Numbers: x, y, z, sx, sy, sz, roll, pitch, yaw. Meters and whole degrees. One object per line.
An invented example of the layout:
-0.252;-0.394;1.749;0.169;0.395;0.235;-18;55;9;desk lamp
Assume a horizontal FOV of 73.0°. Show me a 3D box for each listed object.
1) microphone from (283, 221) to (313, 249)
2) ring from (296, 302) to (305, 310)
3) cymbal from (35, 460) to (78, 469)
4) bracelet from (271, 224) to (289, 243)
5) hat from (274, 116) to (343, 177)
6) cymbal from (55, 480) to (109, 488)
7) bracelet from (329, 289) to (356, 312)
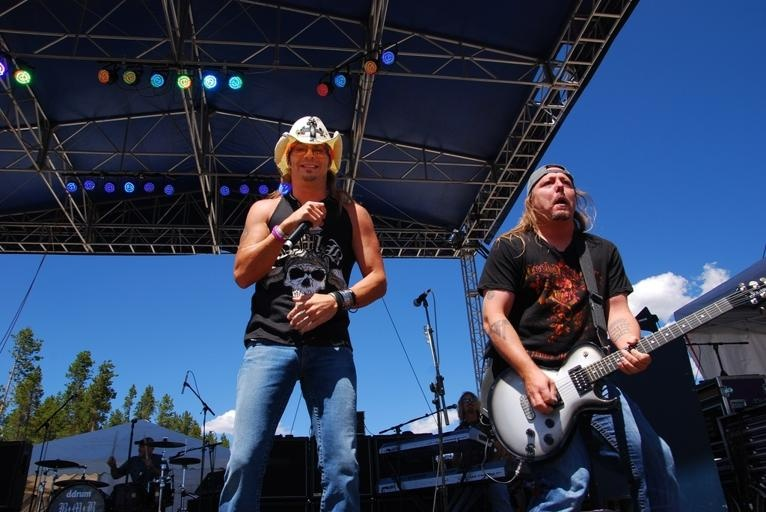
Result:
-0.615;-0.178;3.940;0.093;0.356;0.094;-4;-65;39;microphone
-0.605;0.363;3.773;0.048;0.049;0.013;-1;-31;5;ring
-6.741;4.311;10.828;0.546;0.125;0.682;-13;-31;17;cymbal
-0.785;-0.164;3.917;0.056;0.124;0.118;-37;-11;-10;bracelet
-0.602;-1.026;4.373;0.453;0.249;0.525;0;2;-22;hat
-5.881;4.432;10.105;0.936;0.068;0.962;-10;-29;18;cymbal
-0.304;0.331;3.923;0.187;0.149;0.148;1;-29;-8;bracelet
